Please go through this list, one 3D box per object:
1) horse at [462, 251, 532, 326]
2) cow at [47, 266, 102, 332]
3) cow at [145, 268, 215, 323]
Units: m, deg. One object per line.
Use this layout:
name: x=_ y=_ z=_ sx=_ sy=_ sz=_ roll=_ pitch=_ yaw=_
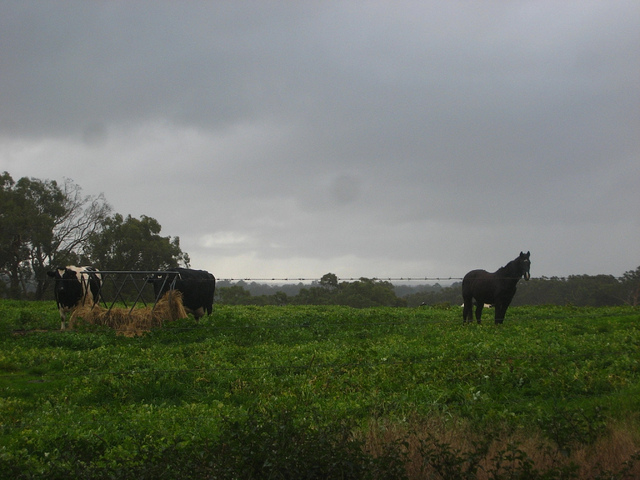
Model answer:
horse: x=6.374 y=1.950 z=23.210 sx=1.043 sy=2.769 sz=3.596 roll=5 pitch=-9 yaw=-27
cow: x=-8.419 y=1.938 z=21.342 sx=1.248 sy=2.146 sz=1.833 roll=1 pitch=-5 yaw=0
cow: x=-5.016 y=2.032 z=24.761 sx=0.902 sy=1.664 sz=2.905 roll=2 pitch=5 yaw=-42
